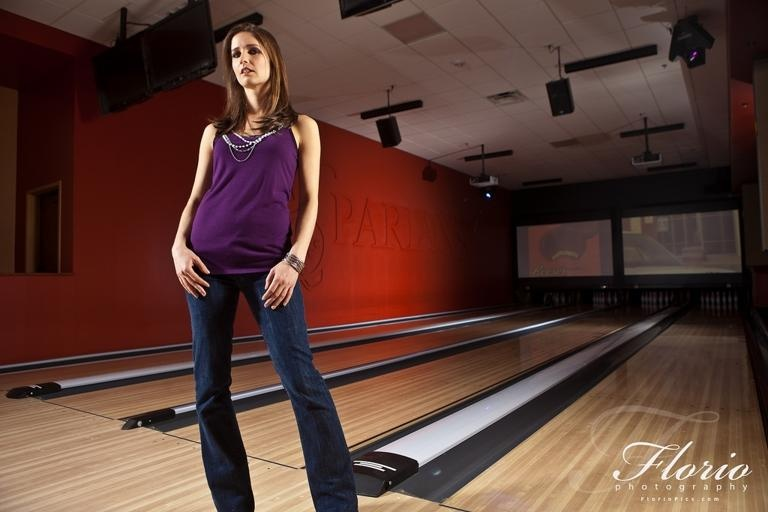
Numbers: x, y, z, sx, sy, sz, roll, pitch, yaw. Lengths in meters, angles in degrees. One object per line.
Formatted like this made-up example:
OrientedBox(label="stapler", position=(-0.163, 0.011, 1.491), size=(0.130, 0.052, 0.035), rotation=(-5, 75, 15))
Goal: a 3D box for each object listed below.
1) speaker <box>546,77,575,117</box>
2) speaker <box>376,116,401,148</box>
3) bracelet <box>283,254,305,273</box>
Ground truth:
OrientedBox(label="speaker", position=(1.913, -1.748, 5.061), size=(0.272, 0.389, 0.266), rotation=(-11, -6, 25))
OrientedBox(label="speaker", position=(0.049, -1.668, 5.990), size=(0.269, 0.402, 0.314), rotation=(-15, 16, 7))
OrientedBox(label="bracelet", position=(-0.292, 0.022, 1.494), size=(0.066, 0.044, 0.063), rotation=(39, -9, 21))
